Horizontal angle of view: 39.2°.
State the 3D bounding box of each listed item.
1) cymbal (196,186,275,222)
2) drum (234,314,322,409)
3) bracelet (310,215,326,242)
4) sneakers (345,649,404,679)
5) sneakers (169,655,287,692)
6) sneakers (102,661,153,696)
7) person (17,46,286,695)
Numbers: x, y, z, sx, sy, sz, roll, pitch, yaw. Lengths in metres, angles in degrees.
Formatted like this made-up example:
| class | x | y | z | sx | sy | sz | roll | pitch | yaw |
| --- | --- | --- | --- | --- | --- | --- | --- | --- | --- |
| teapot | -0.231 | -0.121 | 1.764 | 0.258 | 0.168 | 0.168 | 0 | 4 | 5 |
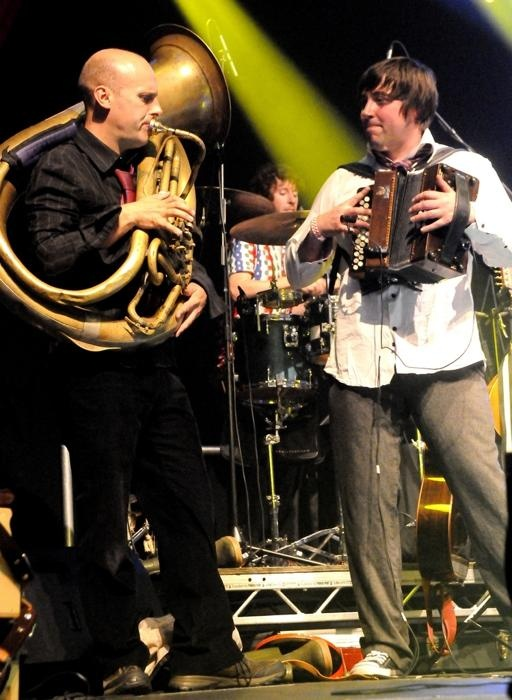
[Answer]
| class | x | y | z | sx | sy | sz | roll | pitch | yaw |
| --- | --- | --- | --- | --- | --- | --- | --- | --- | --- |
| cymbal | -0.110 | -0.894 | 4.420 | 0.365 | 0.077 | 0.367 | -15 | -18 | 37 |
| drum | 0.072 | 0.037 | 4.295 | 0.452 | 0.413 | 0.434 | -9 | -14 | 21 |
| bracelet | 0.218 | -0.446 | 2.644 | 0.033 | 0.054 | 0.072 | -9 | 35 | -1 |
| sneakers | 0.356 | 0.943 | 2.146 | 0.205 | 0.071 | 0.070 | 14 | -39 | -13 |
| sneakers | -0.075 | 0.930 | 2.135 | 0.302 | 0.095 | 0.117 | 0 | -18 | -14 |
| sneakers | -0.362 | 0.923 | 2.008 | 0.165 | 0.053 | 0.066 | -15 | -23 | 27 |
| person | -0.373 | 0.098 | 2.210 | 0.574 | 1.979 | 1.001 | -7 | 19 | -5 |
